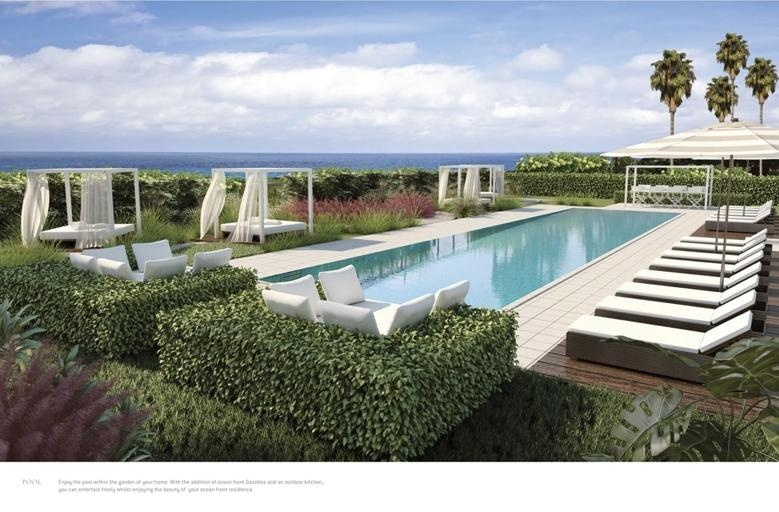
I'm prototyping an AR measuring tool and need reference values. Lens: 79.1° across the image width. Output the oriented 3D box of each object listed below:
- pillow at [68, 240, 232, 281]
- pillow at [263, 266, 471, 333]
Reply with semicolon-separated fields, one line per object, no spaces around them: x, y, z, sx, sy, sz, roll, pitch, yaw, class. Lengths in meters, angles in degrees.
-4.168;0.120;8.042;2.213;0.552;1.810;4;9;43;pillow
-0.600;0.598;5.680;1.600;0.541;1.293;5;11;38;pillow
